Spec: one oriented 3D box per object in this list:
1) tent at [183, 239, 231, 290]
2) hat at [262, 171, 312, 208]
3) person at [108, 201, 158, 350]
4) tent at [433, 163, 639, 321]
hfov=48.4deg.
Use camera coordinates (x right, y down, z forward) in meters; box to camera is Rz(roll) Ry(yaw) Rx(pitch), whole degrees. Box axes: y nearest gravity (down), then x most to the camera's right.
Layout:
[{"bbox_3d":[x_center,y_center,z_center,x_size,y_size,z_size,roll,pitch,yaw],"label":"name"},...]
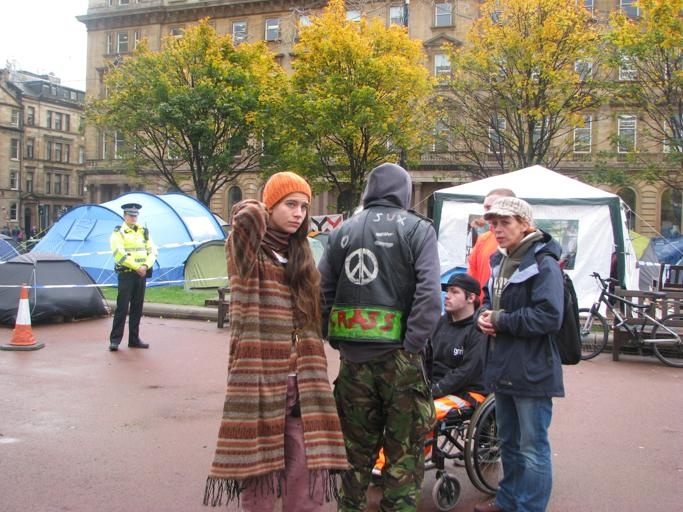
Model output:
[{"bbox_3d":[-3.509,0.291,19.735,0.932,1.320,1.039,8,7,39],"label":"tent"},{"bbox_3d":[-0.478,-0.592,6.613,0.336,0.276,0.331,4,3,29],"label":"hat"},{"bbox_3d":[-3.635,0.343,13.311,0.847,2.531,0.680,1,-4,-37],"label":"person"},{"bbox_3d":[4.455,-0.673,16.474,3.506,2.441,3.559,-1,-2,22],"label":"tent"}]
